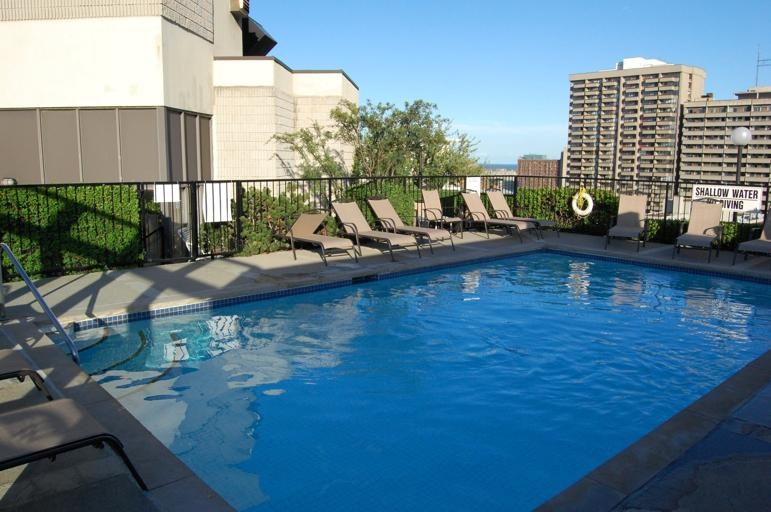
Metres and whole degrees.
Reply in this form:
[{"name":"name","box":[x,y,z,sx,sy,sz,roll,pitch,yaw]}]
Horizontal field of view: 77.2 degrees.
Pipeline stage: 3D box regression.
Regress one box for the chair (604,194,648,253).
[{"name":"chair","box":[6.270,-0.892,12.547,0.841,1.372,1.792,4,13,28]}]

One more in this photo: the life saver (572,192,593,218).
[{"name":"life saver","box":[5.602,-1.500,13.771,0.502,0.693,0.308,1,13,16]}]
